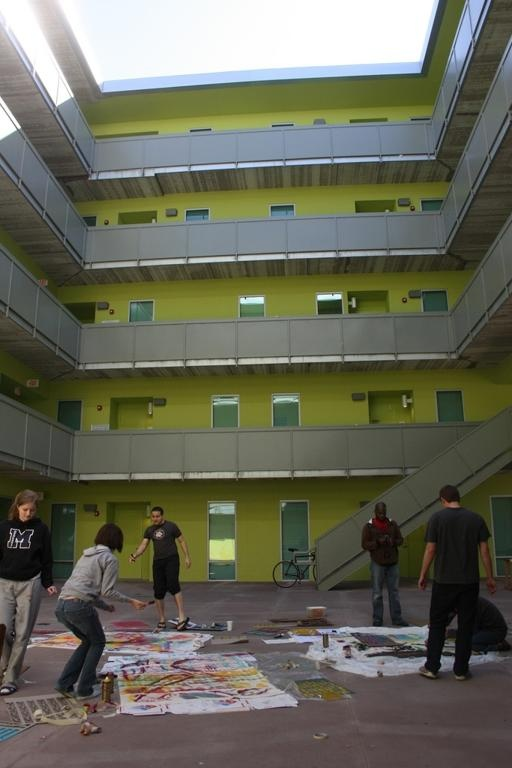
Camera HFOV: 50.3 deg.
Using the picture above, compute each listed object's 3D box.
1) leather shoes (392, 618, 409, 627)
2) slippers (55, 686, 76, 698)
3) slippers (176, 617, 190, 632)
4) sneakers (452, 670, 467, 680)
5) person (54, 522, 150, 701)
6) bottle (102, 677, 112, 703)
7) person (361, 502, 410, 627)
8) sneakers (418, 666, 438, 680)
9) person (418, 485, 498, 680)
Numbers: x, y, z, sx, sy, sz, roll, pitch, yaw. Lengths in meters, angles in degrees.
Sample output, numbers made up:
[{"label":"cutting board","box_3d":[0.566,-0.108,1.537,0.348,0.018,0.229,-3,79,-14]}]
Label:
[{"label":"leather shoes","box_3d":[1.972,3.248,7.413,0.211,0.105,0.244,-3,-15,14]},{"label":"slippers","box_3d":[-1.385,2.235,3.957,0.139,0.062,0.184,3,-15,-9]},{"label":"slippers","box_3d":[-1.023,3.348,7.569,0.097,0.113,0.332,6,0,2]},{"label":"sneakers","box_3d":[1.673,2.351,4.373,0.143,0.046,0.109,3,-15,-9]},{"label":"person","box_3d":[-1.216,1.674,4.084,0.538,1.217,0.485,4,-15,-12]},{"label":"bottle","box_3d":[-1.037,2.135,3.804,0.067,0.161,0.193,5,-15,-13]},{"label":"person","box_3d":[1.886,2.628,8.034,0.592,1.672,1.231,-2,-15,13]},{"label":"sneakers","box_3d":[1.411,2.374,4.475,0.169,0.074,0.157,-11,-19,38]},{"label":"person","box_3d":[1.689,1.660,4.645,0.624,1.550,0.419,-5,-16,22]}]
